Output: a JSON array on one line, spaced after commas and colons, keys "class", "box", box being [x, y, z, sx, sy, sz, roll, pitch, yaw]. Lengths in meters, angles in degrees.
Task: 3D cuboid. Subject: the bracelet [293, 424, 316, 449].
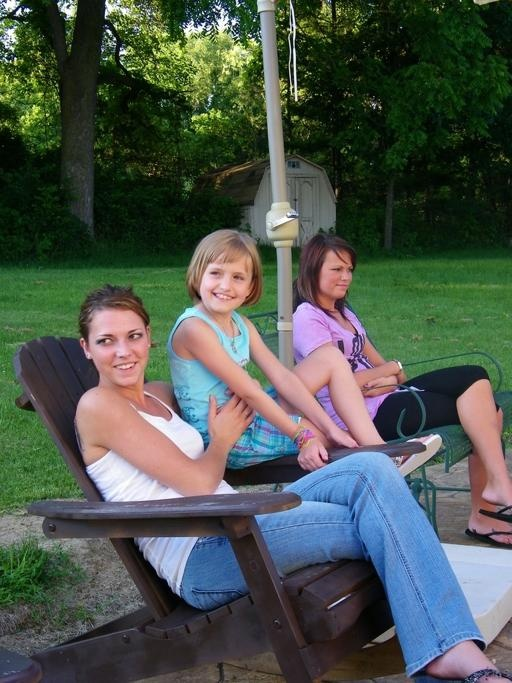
[{"class": "bracelet", "box": [0.169, 0.336, 2.515, 0.069, 0.073, 0.073, 35, 27, 27]}]

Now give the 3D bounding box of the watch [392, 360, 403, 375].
[{"class": "watch", "box": [0.665, 0.124, 3.319, 0.023, 0.057, 0.044, -25, 8, 19]}]
